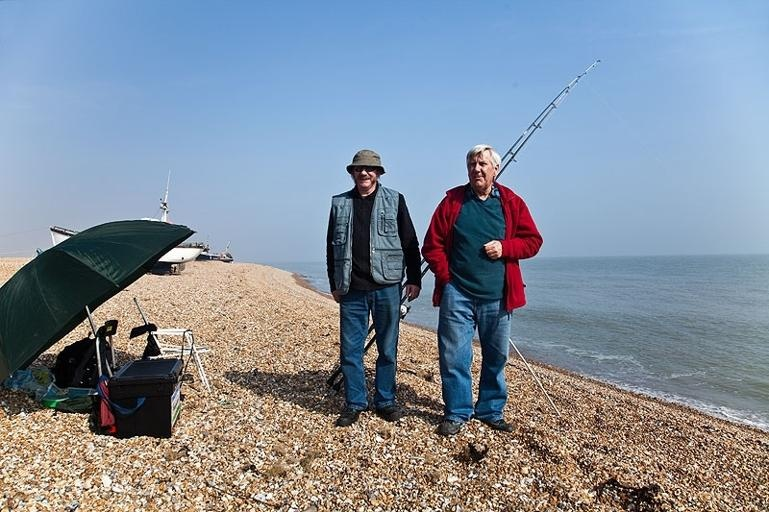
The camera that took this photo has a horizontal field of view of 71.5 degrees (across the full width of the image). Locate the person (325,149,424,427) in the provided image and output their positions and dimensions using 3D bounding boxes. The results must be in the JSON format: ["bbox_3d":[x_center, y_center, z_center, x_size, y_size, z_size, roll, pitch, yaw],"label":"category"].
[{"bbox_3d":[-0.157,0.430,6.990,1.217,3.489,0.932,3,12,-7],"label":"person"}]

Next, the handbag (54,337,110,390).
[{"bbox_3d":[-3.997,1.453,7.117,0.699,0.670,0.510,5,-26,-1],"label":"handbag"}]

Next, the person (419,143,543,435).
[{"bbox_3d":[1.158,0.430,6.785,1.334,3.543,0.965,6,12,8],"label":"person"}]

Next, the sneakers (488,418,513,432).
[{"bbox_3d":[1.482,2.149,6.816,0.240,0.093,0.129,-1,-2,28],"label":"sneakers"}]

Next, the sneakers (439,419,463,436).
[{"bbox_3d":[0.824,2.141,6.675,0.258,0.100,0.155,8,-10,-5],"label":"sneakers"}]

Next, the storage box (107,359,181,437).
[{"bbox_3d":[-3.023,1.802,6.917,0.798,0.782,1.171,-1,1,-15],"label":"storage box"}]

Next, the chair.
[{"bbox_3d":[-3.193,1.330,8.079,1.026,1.381,0.931,1,-8,-21],"label":"chair"}]

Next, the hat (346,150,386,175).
[{"bbox_3d":[-0.232,-1.180,6.848,0.446,0.298,0.378,3,12,-5],"label":"hat"}]

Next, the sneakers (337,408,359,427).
[{"bbox_3d":[-0.472,2.090,6.965,0.297,0.190,0.209,4,12,-2],"label":"sneakers"}]

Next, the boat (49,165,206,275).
[{"bbox_3d":[-12.900,-1.339,28.191,8.280,4.494,2.738,-1,19,-21],"label":"boat"}]
